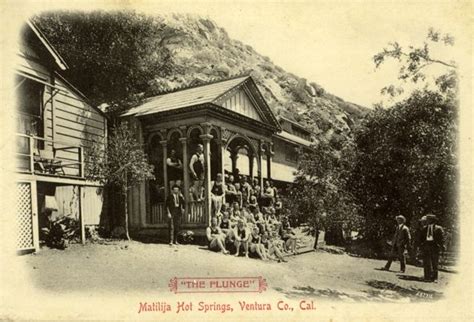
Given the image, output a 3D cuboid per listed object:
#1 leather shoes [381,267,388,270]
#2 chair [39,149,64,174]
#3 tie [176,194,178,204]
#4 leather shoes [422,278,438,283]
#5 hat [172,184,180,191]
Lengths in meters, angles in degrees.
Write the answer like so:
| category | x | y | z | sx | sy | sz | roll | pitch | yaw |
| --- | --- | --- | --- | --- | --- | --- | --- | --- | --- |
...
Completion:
| category | x | y | z | sx | sy | sz | roll | pitch | yaw |
| --- | --- | --- | --- | --- | --- | --- | --- | --- | --- |
| leather shoes | 5.545 | 4.088 | 17.736 | 0.232 | 0.117 | 0.065 | -1 | -9 | 18 |
| chair | -6.937 | 0.102 | 17.204 | 0.802 | 1.132 | 0.771 | -4 | -9 | 25 |
| tie | -2.301 | 1.497 | 18.210 | 0.082 | 0.341 | 0.025 | 7 | -10 | -34 |
| leather shoes | 7.112 | 4.444 | 17.436 | 0.566 | 0.162 | 0.099 | 3 | -9 | -7 |
| hat | -2.372 | 1.048 | 18.325 | 0.306 | 0.279 | 0.269 | 4 | -9 | -10 |
